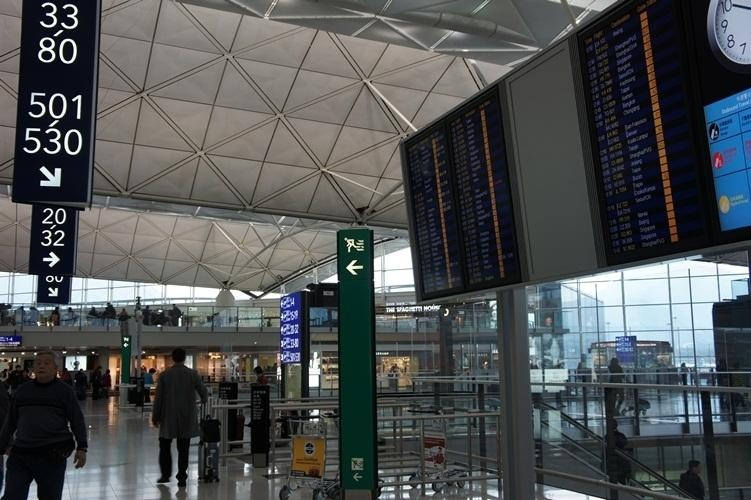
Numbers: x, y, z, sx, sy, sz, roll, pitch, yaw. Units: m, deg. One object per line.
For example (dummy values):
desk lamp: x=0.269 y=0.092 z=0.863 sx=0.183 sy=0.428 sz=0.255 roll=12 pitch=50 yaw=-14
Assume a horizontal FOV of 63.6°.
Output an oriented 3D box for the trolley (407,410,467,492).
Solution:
trolley: x=1.348 y=4.260 z=12.940 sx=1.116 sy=1.644 sz=3.447 roll=4 pitch=-11 yaw=5

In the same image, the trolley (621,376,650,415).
trolley: x=5.014 y=2.914 z=11.554 sx=0.390 sy=0.389 sz=0.297 roll=9 pitch=-3 yaw=4
